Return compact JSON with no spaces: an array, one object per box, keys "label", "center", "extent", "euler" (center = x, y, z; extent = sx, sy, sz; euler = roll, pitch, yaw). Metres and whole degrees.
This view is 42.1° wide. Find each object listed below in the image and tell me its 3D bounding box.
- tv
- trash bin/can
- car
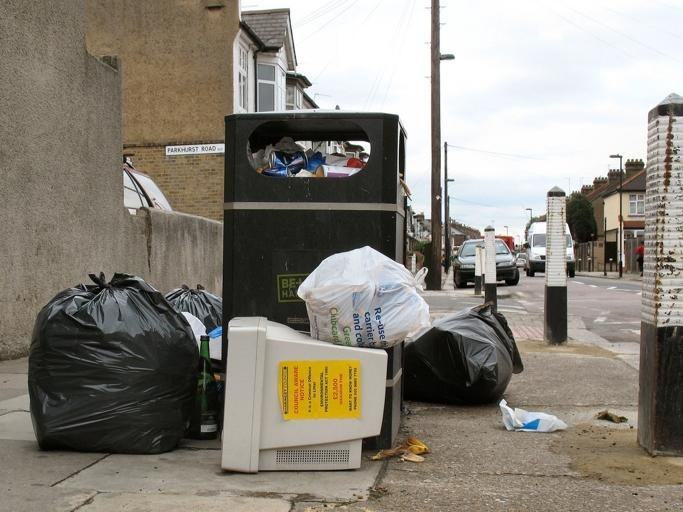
[{"label":"tv","center":[-0.150,1.027,6.880],"extent":[1.333,1.027,1.262],"euler":[5,-1,4]},{"label":"trash bin/can","center":[-0.189,0.202,7.489],"extent":[1.692,2.537,1.535],"euler":[2,1,10]},{"label":"car","center":[4.197,0.245,26.219],"extent":[1.933,1.499,2.964],"euler":[2,1,11]}]
